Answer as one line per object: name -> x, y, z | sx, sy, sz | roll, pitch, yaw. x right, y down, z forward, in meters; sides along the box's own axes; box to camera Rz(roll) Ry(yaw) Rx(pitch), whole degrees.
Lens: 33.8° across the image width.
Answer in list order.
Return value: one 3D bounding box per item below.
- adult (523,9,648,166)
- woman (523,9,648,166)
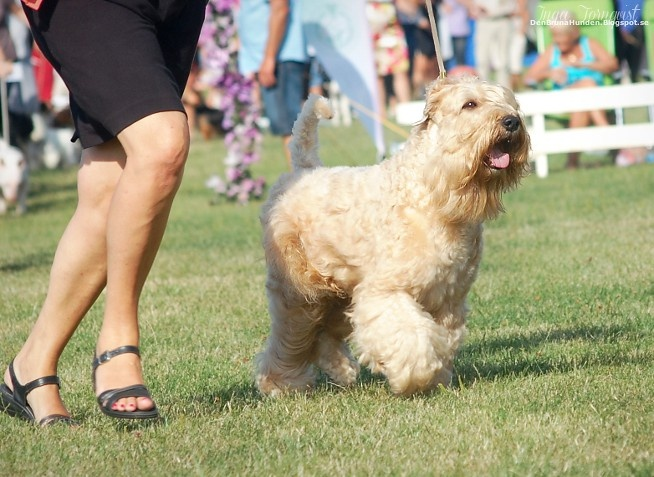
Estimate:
adult -> 3.168, -1.748, 13.240 | 1.279, 1.929, 1.824 | 1, 15, 6
woman -> 3.178, -1.748, 13.237 | 1.322, 1.929, 1.834 | 2, 15, 7
